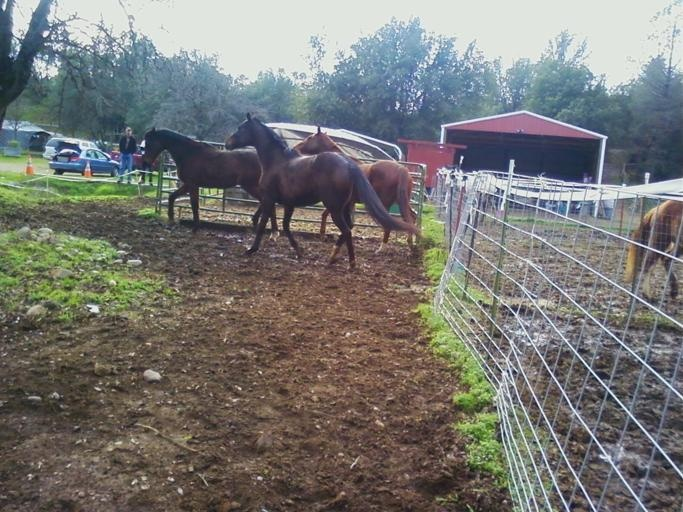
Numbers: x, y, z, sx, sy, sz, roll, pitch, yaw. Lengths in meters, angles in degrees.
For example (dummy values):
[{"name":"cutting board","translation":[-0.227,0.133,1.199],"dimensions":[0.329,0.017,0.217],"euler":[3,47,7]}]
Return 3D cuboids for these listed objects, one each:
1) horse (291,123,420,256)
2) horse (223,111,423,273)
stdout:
[{"name":"horse","translation":[0.396,-1.543,11.384],"dimensions":[3.117,2.411,0.756],"euler":[14,25,37]},{"name":"horse","translation":[-0.554,-1.122,9.302],"dimensions":[3.575,2.662,0.751],"euler":[7,10,21]}]
